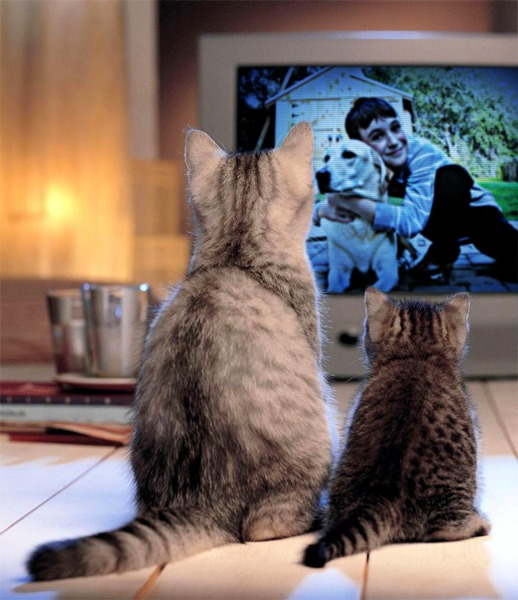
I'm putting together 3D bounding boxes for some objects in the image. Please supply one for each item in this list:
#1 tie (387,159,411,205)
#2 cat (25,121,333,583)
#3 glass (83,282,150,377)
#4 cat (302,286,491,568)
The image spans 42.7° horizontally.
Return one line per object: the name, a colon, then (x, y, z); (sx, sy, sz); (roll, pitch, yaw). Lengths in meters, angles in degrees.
tie: (0.140, -0.115, 0.666); (0.016, 0.029, 0.047); (-10, -6, 7)
cat: (-0.062, 0.024, 0.534); (0.246, 0.346, 0.110); (-2, 4, -18)
glass: (-0.195, 0.041, 0.838); (0.053, 0.073, 0.057); (11, -6, 34)
cat: (0.123, 0.082, 0.561); (0.118, 0.134, 0.258); (-5, 31, 34)
